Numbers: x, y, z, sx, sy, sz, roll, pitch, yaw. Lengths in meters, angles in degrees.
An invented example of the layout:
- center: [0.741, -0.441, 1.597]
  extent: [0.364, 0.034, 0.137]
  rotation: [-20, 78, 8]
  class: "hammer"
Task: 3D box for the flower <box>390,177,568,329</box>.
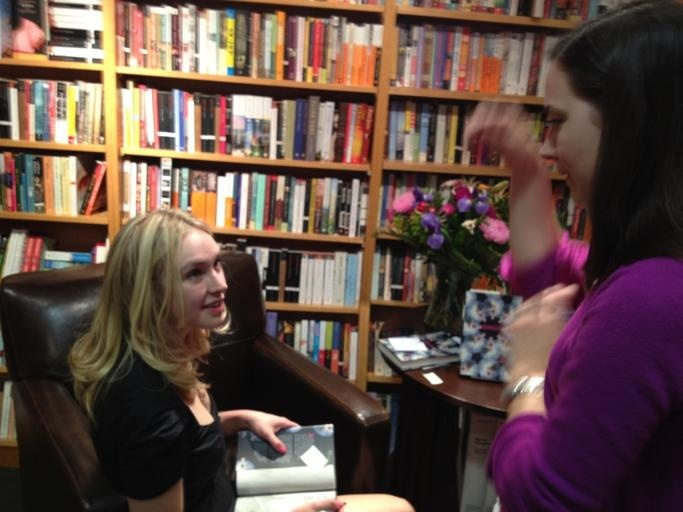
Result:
- center: [0.487, -0.014, 2.498]
  extent: [0.500, 0.564, 0.539]
  rotation: [0, 6, -12]
  class: "flower"
